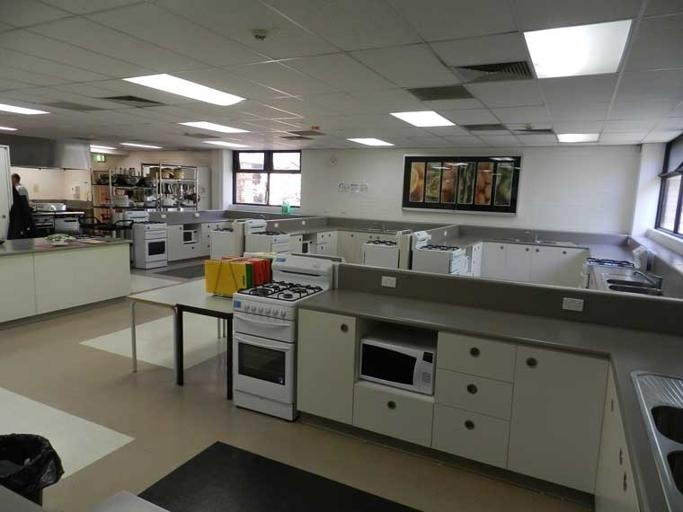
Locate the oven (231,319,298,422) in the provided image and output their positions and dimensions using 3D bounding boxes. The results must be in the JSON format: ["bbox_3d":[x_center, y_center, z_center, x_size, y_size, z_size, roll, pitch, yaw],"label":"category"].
[{"bbox_3d":[-0.574,0.959,4.191,0.646,0.722,0.606,5,12,13],"label":"oven"}]

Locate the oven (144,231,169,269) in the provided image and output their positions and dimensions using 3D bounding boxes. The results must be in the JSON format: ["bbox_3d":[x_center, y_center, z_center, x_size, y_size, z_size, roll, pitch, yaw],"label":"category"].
[{"bbox_3d":[-3.524,-0.128,9.046,0.490,0.656,0.469,-3,-4,-28],"label":"oven"}]

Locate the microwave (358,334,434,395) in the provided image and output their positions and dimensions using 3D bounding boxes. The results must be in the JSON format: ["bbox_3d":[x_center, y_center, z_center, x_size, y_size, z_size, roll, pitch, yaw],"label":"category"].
[{"bbox_3d":[0.435,0.832,3.584,0.567,0.378,0.355,5,4,29],"label":"microwave"}]

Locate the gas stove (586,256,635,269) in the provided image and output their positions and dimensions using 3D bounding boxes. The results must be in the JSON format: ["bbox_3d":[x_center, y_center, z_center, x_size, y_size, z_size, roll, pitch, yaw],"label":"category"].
[{"bbox_3d":[3.309,0.082,5.829,0.409,0.070,0.241,3,6,35],"label":"gas stove"}]

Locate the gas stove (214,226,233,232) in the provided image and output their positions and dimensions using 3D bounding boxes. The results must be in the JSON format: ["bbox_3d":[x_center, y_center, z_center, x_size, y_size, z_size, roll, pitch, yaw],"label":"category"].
[{"bbox_3d":[-2.379,-0.548,9.429,0.283,0.069,0.283,-1,2,-30],"label":"gas stove"}]

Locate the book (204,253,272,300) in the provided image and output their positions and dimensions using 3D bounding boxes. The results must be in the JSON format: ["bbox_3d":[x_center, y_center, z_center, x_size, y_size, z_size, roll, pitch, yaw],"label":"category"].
[{"bbox_3d":[-0.936,0.154,4.497,0.424,0.310,0.439,1,6,29],"label":"book"}]

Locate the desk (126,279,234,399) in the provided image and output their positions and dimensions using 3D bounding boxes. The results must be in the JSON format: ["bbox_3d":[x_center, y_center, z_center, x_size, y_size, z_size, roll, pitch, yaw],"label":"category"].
[{"bbox_3d":[-1.362,0.728,4.501,0.950,0.678,1.075,5,8,30],"label":"desk"}]

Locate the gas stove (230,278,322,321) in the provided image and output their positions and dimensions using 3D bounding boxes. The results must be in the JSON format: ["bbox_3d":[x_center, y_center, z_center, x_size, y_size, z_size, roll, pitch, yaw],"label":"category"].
[{"bbox_3d":[-0.580,0.353,3.949,0.389,0.172,0.414,5,13,29],"label":"gas stove"}]
